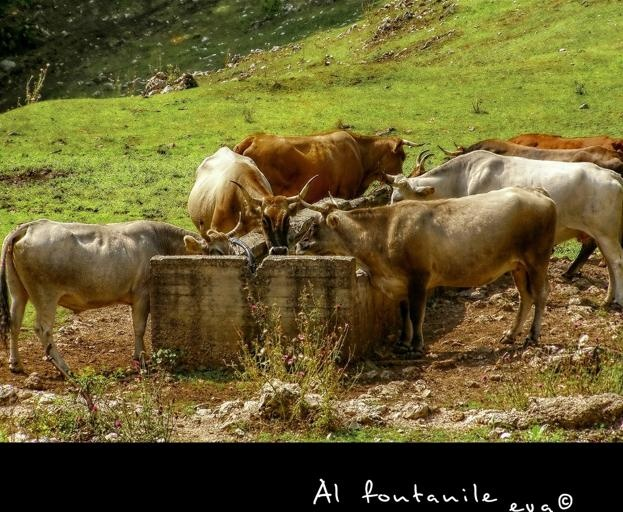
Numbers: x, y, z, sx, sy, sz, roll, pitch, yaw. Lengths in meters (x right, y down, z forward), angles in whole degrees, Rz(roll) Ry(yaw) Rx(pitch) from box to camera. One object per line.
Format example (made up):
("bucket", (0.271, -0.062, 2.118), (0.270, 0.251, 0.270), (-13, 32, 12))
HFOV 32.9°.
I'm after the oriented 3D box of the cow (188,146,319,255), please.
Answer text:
("cow", (-0.850, -0.879, 17.381), (1.179, 1.459, 2.762), (-11, 22, -20))
